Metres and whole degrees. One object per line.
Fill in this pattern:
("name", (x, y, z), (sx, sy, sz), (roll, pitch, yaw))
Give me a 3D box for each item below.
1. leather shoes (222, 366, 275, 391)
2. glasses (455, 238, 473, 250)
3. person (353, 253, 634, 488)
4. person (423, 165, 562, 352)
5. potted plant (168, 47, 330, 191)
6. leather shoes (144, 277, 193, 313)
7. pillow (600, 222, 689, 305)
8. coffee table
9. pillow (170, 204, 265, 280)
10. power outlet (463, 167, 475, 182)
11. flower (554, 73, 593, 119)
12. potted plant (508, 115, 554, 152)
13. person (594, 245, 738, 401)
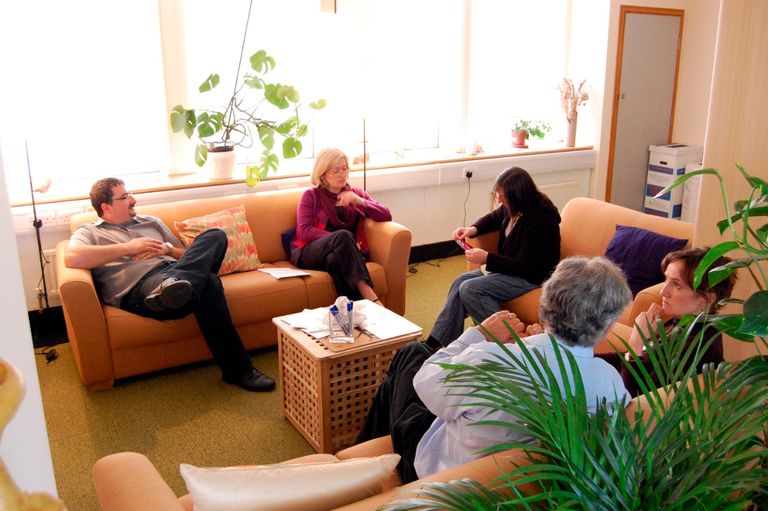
("leather shoes", (-0.909, 0.823, 3.553), (0.331, 0.135, 0.139), (3, 14, 15))
("glasses", (0.623, -0.095, 4.120), (0.113, 0.030, 0.110), (23, 15, -47))
("person", (0.447, 0.451, 2.165), (0.504, 1.079, 0.647), (19, 42, -15))
("person", (0.840, 0.045, 4.010), (0.944, 1.404, 0.605), (-3, 21, -13))
("potted plant", (-1.268, -1.221, 4.688), (0.760, 0.675, 0.738), (17, 8, -32))
("leather shoes", (-1.350, 0.245, 3.425), (0.335, 0.161, 0.142), (-12, 12, 6))
("pillow", (1.698, -0.015, 3.459), (0.437, 0.460, 0.140), (11, -17, 45))
("coffee table", (-0.249, 0.702, 3.318), (0.814, 0.756, 0.804), (-10, 21, -30))
("pillow", (-1.206, -0.090, 4.096), (0.557, 0.521, 0.167), (-17, 1, -42))
("power outlet", (0.903, -0.868, 5.637), (0.118, 0.196, 0.080), (-8, 24, -24))
("flower", (2.231, -1.880, 6.278), (0.448, 0.495, 0.126), (1, 2, -7))
("potted plant", (1.753, -1.480, 6.339), (0.462, 0.336, 0.583), (-2, 15, 9))
("person", (1.354, 0.354, 2.638), (0.690, 0.781, 0.574), (5, 17, 30))
